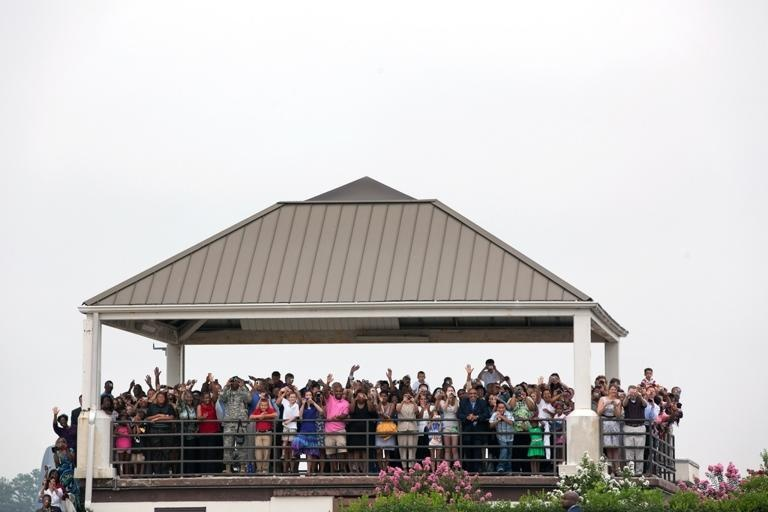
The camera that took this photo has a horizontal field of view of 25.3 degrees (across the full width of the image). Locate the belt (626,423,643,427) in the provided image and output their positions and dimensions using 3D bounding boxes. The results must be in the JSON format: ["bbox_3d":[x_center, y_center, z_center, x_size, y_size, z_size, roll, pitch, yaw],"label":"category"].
[{"bbox_3d":[6.167,4.330,42.414,0.418,0.078,0.087,-4,-13,19],"label":"belt"}]

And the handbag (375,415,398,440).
[{"bbox_3d":[0.055,4.384,42.301,0.518,0.513,0.713,1,-13,-1],"label":"handbag"}]
